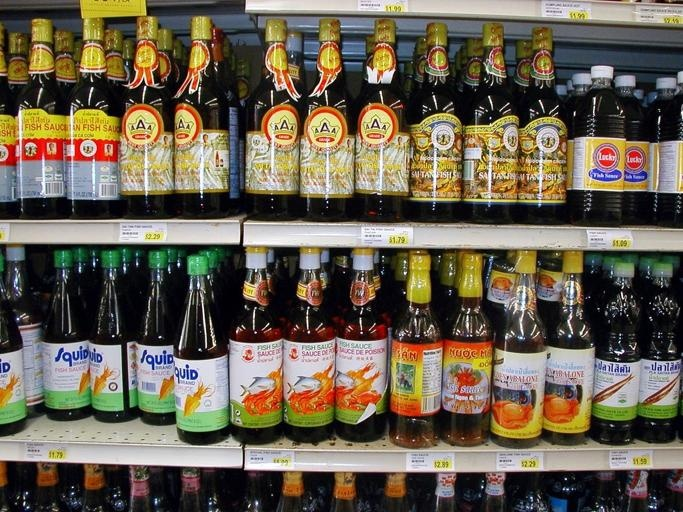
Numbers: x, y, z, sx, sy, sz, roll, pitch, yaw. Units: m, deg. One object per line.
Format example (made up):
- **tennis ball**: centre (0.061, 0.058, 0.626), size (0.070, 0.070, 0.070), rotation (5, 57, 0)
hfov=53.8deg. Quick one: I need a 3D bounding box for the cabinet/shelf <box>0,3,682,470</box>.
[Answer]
- **cabinet/shelf**: centre (0.000, -0.019, 2.057), size (2.581, 1.488, 0.578), rotation (1, 3, 1)
